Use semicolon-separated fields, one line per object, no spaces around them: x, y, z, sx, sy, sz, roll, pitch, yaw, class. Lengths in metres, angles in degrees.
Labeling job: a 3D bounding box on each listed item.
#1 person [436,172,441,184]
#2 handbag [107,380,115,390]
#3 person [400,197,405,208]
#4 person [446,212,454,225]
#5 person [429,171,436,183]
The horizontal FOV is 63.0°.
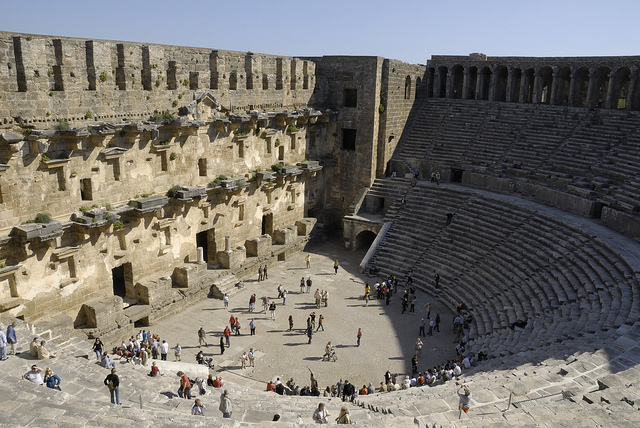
9.242;-2.788;40.849;0.355;1.115;1.053;3;-13;15;person
-8.143;6.604;20.335;0.277;0.429;0.266;6;11;15;handbag
6.297;-0.947;39.580;0.349;0.972;0.667;7;-13;-1;person
9.194;0.322;36.801;0.535;0.954;0.494;4;-13;10;person
8.892;-2.920;41.035;0.349;1.113;1.170;4;-12;10;person
